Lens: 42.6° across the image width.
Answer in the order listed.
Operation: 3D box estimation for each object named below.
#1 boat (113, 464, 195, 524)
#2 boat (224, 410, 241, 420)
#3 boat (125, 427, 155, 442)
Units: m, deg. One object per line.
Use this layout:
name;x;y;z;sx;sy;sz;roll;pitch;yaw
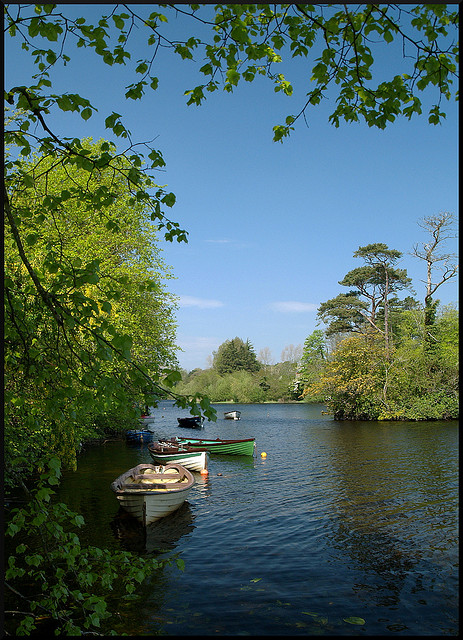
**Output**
boat;-1.800;4.110;14.337;1.749;0.737;3.408;0;-1;1
boat;0.213;8.596;53.301;0.814;0.552;1.742;8;-22;-25
boat;-4.964;6.183;32.267;1.092;0.597;1.814;0;-2;-8
